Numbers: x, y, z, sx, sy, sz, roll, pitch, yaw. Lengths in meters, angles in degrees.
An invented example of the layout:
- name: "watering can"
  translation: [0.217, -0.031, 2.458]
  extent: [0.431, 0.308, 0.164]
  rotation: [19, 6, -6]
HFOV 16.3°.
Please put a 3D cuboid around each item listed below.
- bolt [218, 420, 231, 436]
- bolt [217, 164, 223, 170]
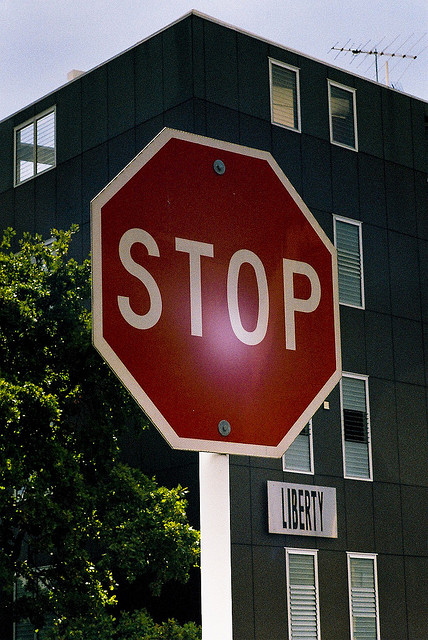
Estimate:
- name: "bolt"
  translation: [0.063, 0.668, 9.131]
  extent: [0.053, 0.074, 0.012]
  rotation: [17, -16, -17]
- name: "bolt"
  translation: [0.037, -0.956, 9.322]
  extent: [0.025, 0.034, 0.007]
  rotation: [0, 5, -13]
